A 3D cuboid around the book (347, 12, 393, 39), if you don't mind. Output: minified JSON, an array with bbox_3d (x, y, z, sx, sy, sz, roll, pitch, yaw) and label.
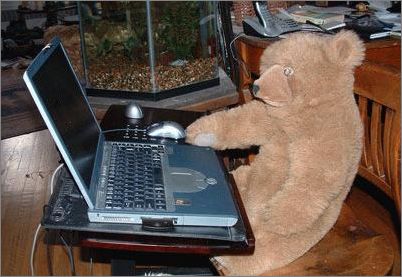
[{"bbox_3d":[0.805,-0.505,1.787,0.196,0.051,0.167,-26,41,-35],"label":"book"}]

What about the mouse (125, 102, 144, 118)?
[{"bbox_3d":[-0.264,-0.114,1.511,0.068,0.042,0.053,5,29,9],"label":"mouse"}]

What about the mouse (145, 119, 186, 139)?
[{"bbox_3d":[-0.130,-0.030,1.381,0.117,0.041,0.068,6,16,8],"label":"mouse"}]
